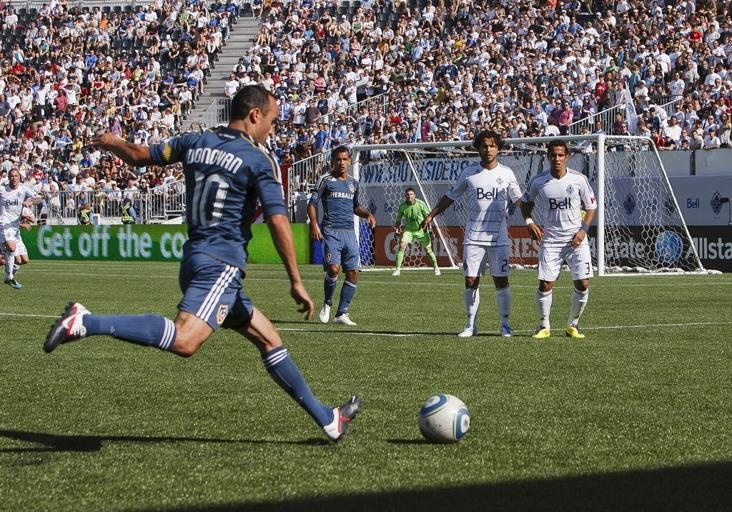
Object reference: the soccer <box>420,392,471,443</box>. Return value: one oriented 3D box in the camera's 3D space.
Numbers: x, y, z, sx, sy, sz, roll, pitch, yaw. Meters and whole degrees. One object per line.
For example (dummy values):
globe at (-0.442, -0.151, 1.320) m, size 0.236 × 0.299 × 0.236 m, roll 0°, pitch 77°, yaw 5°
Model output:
soccer at (0.594, 1.263, 8.036) m, size 0.426 × 0.452 × 0.443 m, roll 1°, pitch -1°, yaw -11°

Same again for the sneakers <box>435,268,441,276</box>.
sneakers at (1.577, 0.364, 23.228) m, size 0.134 × 0.160 × 0.140 m, roll 3°, pitch 14°, yaw 12°

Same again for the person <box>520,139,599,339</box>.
person at (2.214, -0.214, 12.070) m, size 0.800 × 2.273 × 0.853 m, roll -1°, pitch 1°, yaw 12°

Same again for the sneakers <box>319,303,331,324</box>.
sneakers at (-0.522, 0.749, 13.641) m, size 0.093 × 0.115 × 0.287 m, roll 3°, pitch 21°, yaw -2°

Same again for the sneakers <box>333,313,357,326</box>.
sneakers at (-0.274, 0.808, 13.337) m, size 0.326 × 0.149 × 0.113 m, roll 2°, pitch 5°, yaw 20°

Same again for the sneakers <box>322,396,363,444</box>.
sneakers at (-0.199, 1.190, 7.989) m, size 0.140 × 0.205 × 0.442 m, roll 4°, pitch 45°, yaw 42°

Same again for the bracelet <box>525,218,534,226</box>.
bracelet at (1.880, -0.396, 12.070) m, size 0.111 × 0.087 × 0.109 m, roll -6°, pitch 7°, yaw -40°
